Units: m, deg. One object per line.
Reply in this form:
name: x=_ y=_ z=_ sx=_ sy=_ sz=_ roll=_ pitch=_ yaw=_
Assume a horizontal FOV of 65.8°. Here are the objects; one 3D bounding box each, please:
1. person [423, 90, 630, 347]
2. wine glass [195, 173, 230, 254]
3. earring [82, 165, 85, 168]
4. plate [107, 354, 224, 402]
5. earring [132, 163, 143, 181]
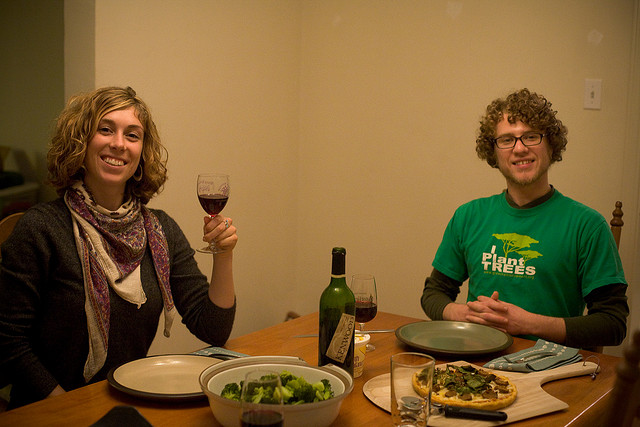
person: x=0.916 y=-0.031 z=2.248 sx=0.839 sy=1.094 sz=0.673 roll=2 pitch=7 yaw=8
wine glass: x=-0.415 y=-0.064 z=1.904 sx=0.120 sy=0.166 sz=0.100 roll=1 pitch=7 yaw=-1
earring: x=-0.942 y=-0.184 z=1.965 sx=0.007 sy=0.016 sz=0.029 roll=-3 pitch=8 yaw=-25
plate: x=-0.505 y=0.523 z=1.585 sx=0.336 sy=0.078 sz=0.241 roll=1 pitch=7 yaw=3
earring: x=-0.770 y=-0.172 z=2.075 sx=0.049 sy=0.053 sz=0.012 roll=3 pitch=2 yaw=4
